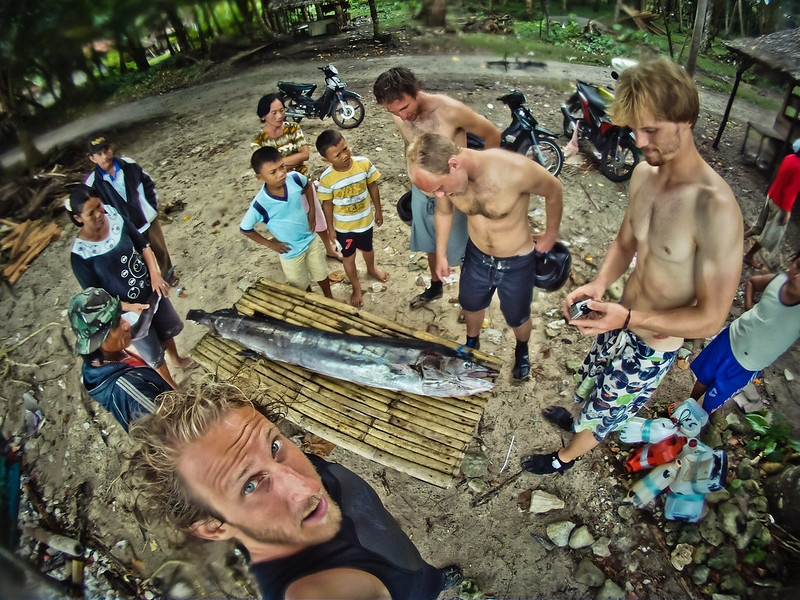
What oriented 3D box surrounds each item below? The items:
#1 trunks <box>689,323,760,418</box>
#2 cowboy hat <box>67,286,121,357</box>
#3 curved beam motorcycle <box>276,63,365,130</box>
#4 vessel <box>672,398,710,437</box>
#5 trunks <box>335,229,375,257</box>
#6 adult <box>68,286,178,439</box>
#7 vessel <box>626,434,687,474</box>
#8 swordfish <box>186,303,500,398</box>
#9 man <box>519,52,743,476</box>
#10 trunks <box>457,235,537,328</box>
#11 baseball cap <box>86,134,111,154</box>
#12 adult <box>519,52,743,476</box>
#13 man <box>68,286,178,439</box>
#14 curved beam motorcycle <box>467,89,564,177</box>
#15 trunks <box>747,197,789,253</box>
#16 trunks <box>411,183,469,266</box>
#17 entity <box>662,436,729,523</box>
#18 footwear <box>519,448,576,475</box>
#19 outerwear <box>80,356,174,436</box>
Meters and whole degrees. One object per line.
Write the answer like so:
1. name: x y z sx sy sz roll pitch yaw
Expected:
1. trunks: 3.114 0.687 5.641 0.348 0.890 0.460 -10 55 -15
2. cowboy hat: -2.799 0.207 5.456 0.445 0.302 0.606 -40 25 33
3. curved beam motorcycle: -1.499 -3.527 10.248 1.710 1.015 0.583 10 20 25
4. vessel: 2.811 1.147 5.765 0.386 0.128 0.289 -36 77 -29
5. trunks: -0.545 -0.689 7.055 0.328 0.279 0.190 -20 44 -10
6. adult: -2.654 0.594 5.678 0.478 1.538 0.925 -30 74 -5
7. vessel: 2.433 1.500 5.740 0.275 0.692 0.223 -3 69 -50
8. swordfish: -0.614 0.551 6.080 2.511 0.523 0.450 9 39 16
9. man: 2.088 -0.138 5.309 1.470 3.535 1.513 -2 38 10
10. trunks: 0.998 -0.222 6.088 0.765 0.790 0.469 19 53 20
11. baseball cap: -3.455 -1.764 6.734 0.248 0.171 0.334 -27 40 -22
12. adult: 2.088 -0.140 5.308 1.470 3.531 1.513 -2 38 10
13. man: -2.654 0.594 5.678 0.478 1.538 0.925 -30 74 -5
14. curved beam motorcycle: 1.447 -2.524 8.790 2.059 1.257 0.885 18 33 38
15. trunks: 4.547 -0.895 7.270 0.259 0.816 0.284 -30 72 15
16. trunks: 0.367 -0.914 6.820 0.548 0.454 0.754 0 86 5
17. entity: 2.706 1.741 5.635 0.463 0.798 0.243 34 13 6
18. footwear: 1.469 1.631 5.964 0.580 0.243 0.202 -1 60 17
19. outerwear: -2.480 0.872 5.360 0.839 0.762 0.354 31 73 39
